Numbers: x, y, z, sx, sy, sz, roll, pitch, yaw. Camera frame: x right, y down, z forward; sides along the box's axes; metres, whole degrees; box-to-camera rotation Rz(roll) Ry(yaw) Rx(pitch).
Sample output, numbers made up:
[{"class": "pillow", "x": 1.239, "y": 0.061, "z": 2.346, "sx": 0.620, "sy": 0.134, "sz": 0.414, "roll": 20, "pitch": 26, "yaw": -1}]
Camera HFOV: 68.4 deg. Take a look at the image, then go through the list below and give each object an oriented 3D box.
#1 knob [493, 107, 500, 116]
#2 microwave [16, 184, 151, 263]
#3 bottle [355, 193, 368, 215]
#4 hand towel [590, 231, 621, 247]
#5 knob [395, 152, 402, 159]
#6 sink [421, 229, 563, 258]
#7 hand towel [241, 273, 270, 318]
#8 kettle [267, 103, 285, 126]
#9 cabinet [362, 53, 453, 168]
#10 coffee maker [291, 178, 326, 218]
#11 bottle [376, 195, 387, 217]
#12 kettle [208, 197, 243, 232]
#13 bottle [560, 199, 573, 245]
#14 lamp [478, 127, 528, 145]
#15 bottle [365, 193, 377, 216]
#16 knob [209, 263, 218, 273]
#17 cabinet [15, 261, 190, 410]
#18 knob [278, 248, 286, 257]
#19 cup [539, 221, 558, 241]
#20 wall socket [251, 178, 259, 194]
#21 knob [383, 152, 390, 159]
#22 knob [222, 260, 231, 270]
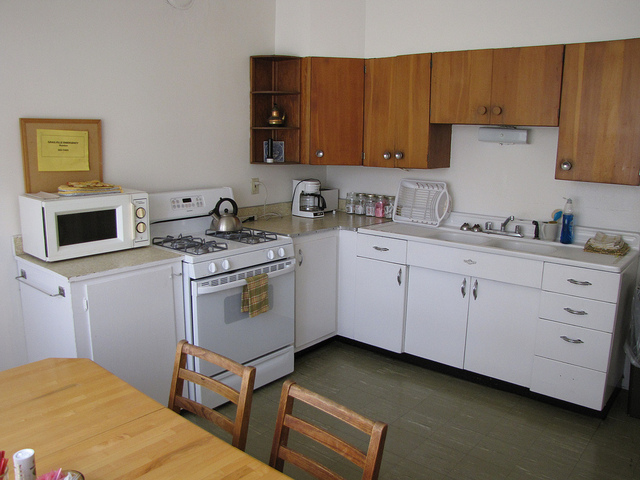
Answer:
[{"class": "knob", "x": 1.280, "y": -0.946, "z": 3.432, "sx": 0.045, "sy": 0.050, "sz": 0.027, "roll": 4, "pitch": 14, "yaw": 28}, {"class": "microwave", "x": -1.418, "y": -0.093, "z": 2.863, "sx": 0.463, "sy": 0.427, "sz": 0.642, "roll": 15, "pitch": 21, "yaw": 37}, {"class": "bottle", "x": 0.390, "y": -0.351, "z": 4.482, "sx": 0.134, "sy": 0.237, "sz": 0.127, "roll": 0, "pitch": 16, "yaw": 0}, {"class": "hand towel", "x": 2.029, "y": -0.003, "z": 3.356, "sx": 0.117, "sy": 0.041, "sz": 0.118, "roll": 9, "pitch": 24, "yaw": 43}, {"class": "knob", "x": 0.649, "y": -0.707, "z": 3.914, "sx": 0.051, "sy": 0.052, "sz": 0.019, "roll": 0, "pitch": 13, "yaw": 10}, {"class": "sink", "x": 1.313, "y": 0.017, "z": 3.639, "sx": 0.985, "sy": 0.116, "sz": 0.416, "roll": 4, "pitch": 15, "yaw": 26}, {"class": "hand towel", "x": -0.461, "y": 0.370, "z": 3.252, "sx": 0.108, "sy": 0.306, "sz": 0.257, "roll": 17, "pitch": 20, "yaw": 35}, {"class": "kettle", "x": -0.390, "y": -1.095, "z": 4.106, "sx": 0.144, "sy": 0.191, "sz": 0.173, "roll": -7, "pitch": 14, "yaw": -20}, {"class": "cabinet", "x": 0.750, "y": -1.105, "z": 4.067, "sx": 0.694, "sy": 0.961, "sz": 0.513, "roll": 10, "pitch": 15, "yaw": 37}, {"class": "coffee maker", "x": -0.103, "y": -0.398, "z": 4.380, "sx": 0.304, "sy": 0.345, "sz": 0.191, "roll": 7, "pitch": 13, "yaw": 32}, {"class": "bottle", "x": 0.566, "y": -0.316, "z": 4.377, "sx": 0.098, "sy": 0.185, "sz": 0.071, "roll": -1, "pitch": 13, "yaw": 7}, {"class": "kettle", "x": -0.723, "y": -0.201, "z": 3.635, "sx": 0.259, "sy": 0.272, "sz": 0.274, "roll": 1, "pitch": 9, "yaw": 37}, {"class": "bottle", "x": 1.852, "y": -0.145, "z": 3.528, "sx": 0.076, "sy": 0.320, "sz": 0.145, "roll": 5, "pitch": 14, "yaw": 29}, {"class": "lamp", "x": 1.411, "y": -0.820, "z": 3.659, "sx": 0.348, "sy": 0.130, "sz": 0.102, "roll": 2, "pitch": 14, "yaw": 20}, {"class": "bottle", "x": 0.472, "y": -0.331, "z": 4.431, "sx": 0.137, "sy": 0.191, "sz": 0.070, "roll": 3, "pitch": 14, "yaw": 24}, {"class": "knob", "x": -0.696, "y": 0.175, "z": 3.036, "sx": 0.049, "sy": 0.066, "sz": 0.015, "roll": 4, "pitch": -2, "yaw": -22}, {"class": "cabinet", "x": -1.329, "y": 0.474, "z": 3.130, "sx": 0.693, "sy": 1.182, "sz": 0.682, "roll": -15, "pitch": 34, "yaw": -31}, {"class": "knob", "x": -0.281, "y": 0.085, "z": 3.425, "sx": 0.040, "sy": 0.052, "sz": 0.014, "roll": 1, "pitch": 4, "yaw": -35}, {"class": "cup", "x": 1.725, "y": -0.083, "z": 3.606, "sx": 0.102, "sy": 0.144, "sz": 0.176, "roll": -5, "pitch": 13, "yaw": -11}, {"class": "wall socket", "x": -0.586, "y": -0.490, "z": 4.208, "sx": 0.011, "sy": 0.141, "sz": 0.095, "roll": 9, "pitch": 17, "yaw": 42}, {"class": "knob", "x": 0.546, "y": -0.711, "z": 3.948, "sx": 0.045, "sy": 0.047, "sz": 0.015, "roll": -9, "pitch": 4, "yaw": 35}, {"class": "knob", "x": -0.622, "y": 0.159, "z": 3.097, "sx": 0.049, "sy": 0.066, "sz": 0.015, "roll": -3, "pitch": 1, "yaw": -8}]
